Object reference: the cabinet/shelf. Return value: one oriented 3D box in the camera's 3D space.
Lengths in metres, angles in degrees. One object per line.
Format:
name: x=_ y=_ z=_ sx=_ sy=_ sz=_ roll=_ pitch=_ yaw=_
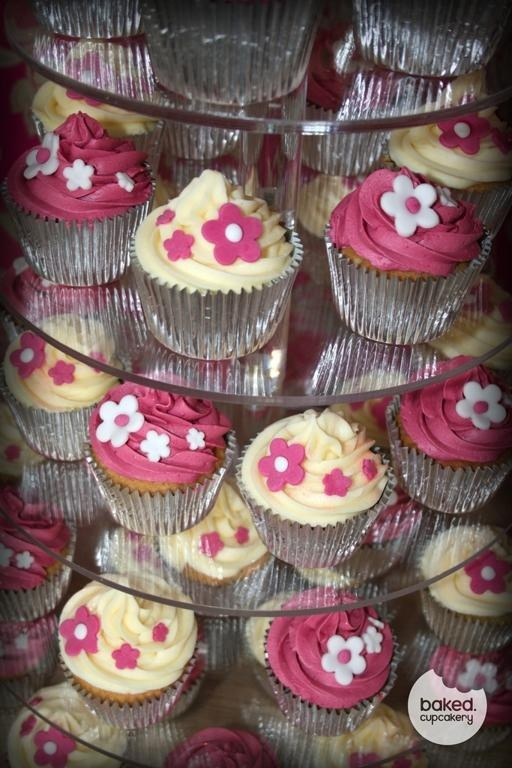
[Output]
cabinet/shelf: x=-0.021 y=-0.031 z=1.139 sx=0.857 sy=1.092 sz=0.503 roll=10 pitch=37 yaw=9
